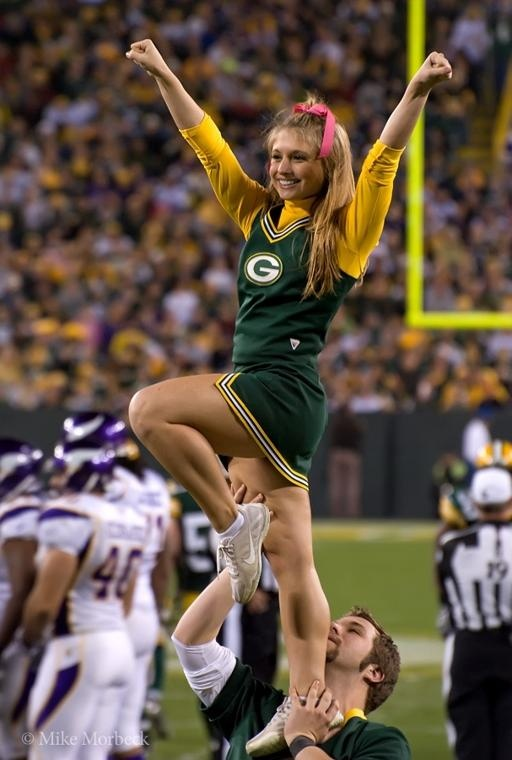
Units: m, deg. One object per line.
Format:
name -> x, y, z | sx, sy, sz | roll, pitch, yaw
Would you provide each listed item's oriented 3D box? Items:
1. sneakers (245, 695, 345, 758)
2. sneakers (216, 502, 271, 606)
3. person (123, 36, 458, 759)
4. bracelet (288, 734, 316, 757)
sneakers -> 0.085, 0.710, 1.917 | 0.218, 0.088, 0.073 | -33, 3, 6
sneakers -> -0.025, 0.356, 1.912 | 0.106, 0.206, 0.132 | -1, 5, -4
person -> 0.052, 0.009, 2.052 | 0.693, 1.566, 0.670 | 1, 5, 24
bracelet -> 0.088, 0.702, 1.813 | 0.047, 0.042, 0.042 | -3, 3, -4
